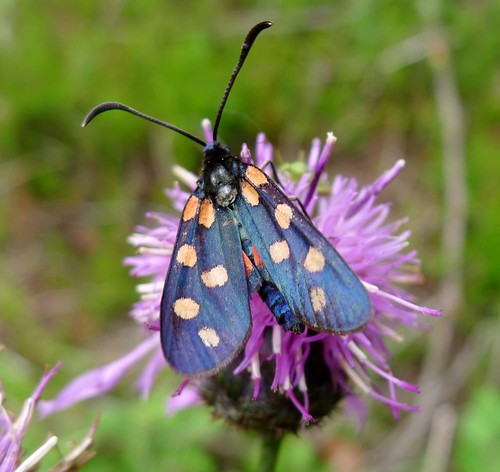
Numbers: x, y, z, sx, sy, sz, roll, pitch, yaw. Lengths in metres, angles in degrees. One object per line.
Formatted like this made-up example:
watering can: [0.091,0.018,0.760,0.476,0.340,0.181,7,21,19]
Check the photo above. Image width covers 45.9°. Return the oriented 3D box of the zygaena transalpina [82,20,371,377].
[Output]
zygaena transalpina: [-0.003,-0.007,1.200,0.408,0.171,0.510,-11,76,1]
